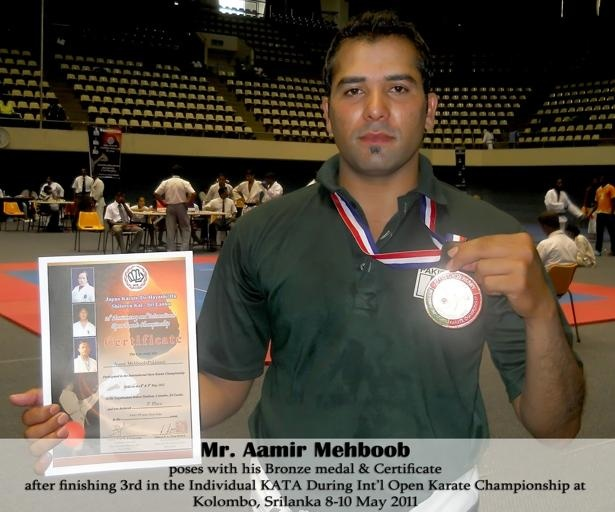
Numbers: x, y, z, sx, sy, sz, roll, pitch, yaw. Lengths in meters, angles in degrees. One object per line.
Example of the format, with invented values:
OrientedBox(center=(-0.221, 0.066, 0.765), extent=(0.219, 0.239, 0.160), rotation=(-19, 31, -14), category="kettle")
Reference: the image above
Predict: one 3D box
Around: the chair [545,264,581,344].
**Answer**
OrientedBox(center=(2.621, 0.473, 5.537), extent=(0.495, 0.885, 0.451), rotation=(3, 6, 39), category="chair")
